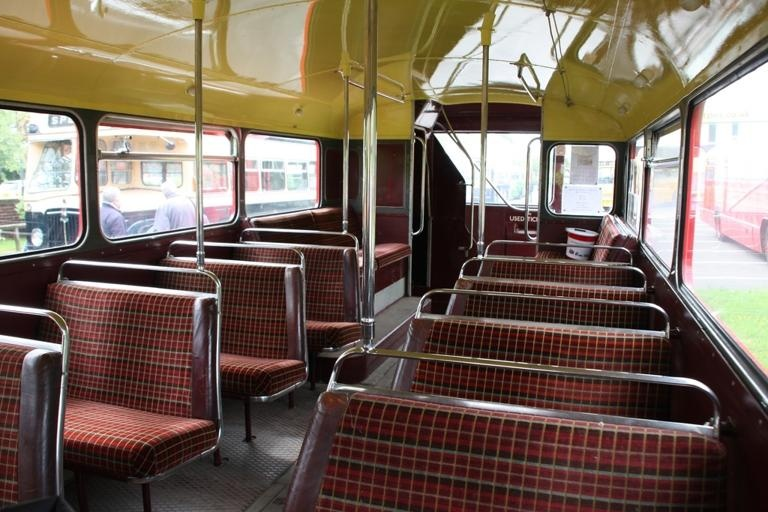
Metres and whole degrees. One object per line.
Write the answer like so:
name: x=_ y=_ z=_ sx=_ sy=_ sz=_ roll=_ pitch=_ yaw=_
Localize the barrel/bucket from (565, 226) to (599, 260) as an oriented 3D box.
barrel/bucket: x=2.973 y=-0.146 z=8.578 sx=0.530 sy=0.425 sz=0.551 roll=9 pitch=9 yaw=-1
